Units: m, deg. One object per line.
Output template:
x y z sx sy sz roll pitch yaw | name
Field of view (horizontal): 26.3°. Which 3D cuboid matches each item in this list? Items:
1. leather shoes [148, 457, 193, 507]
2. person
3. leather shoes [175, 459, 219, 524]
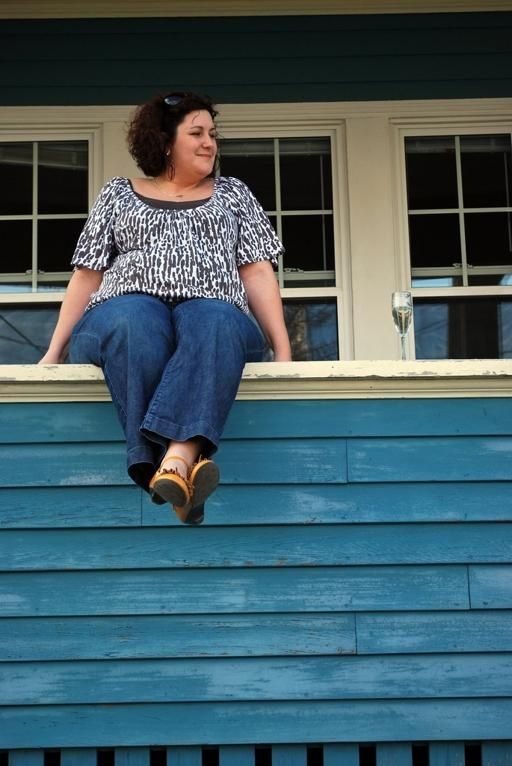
-0.188 0.229 2.435 0.059 0.056 0.144 -29 -29 -15 | leather shoes
-0.184 -0.223 2.803 0.564 1.162 0.550 6 -13 -42 | person
-0.125 0.243 2.500 0.069 0.075 0.187 -21 -38 -30 | leather shoes
